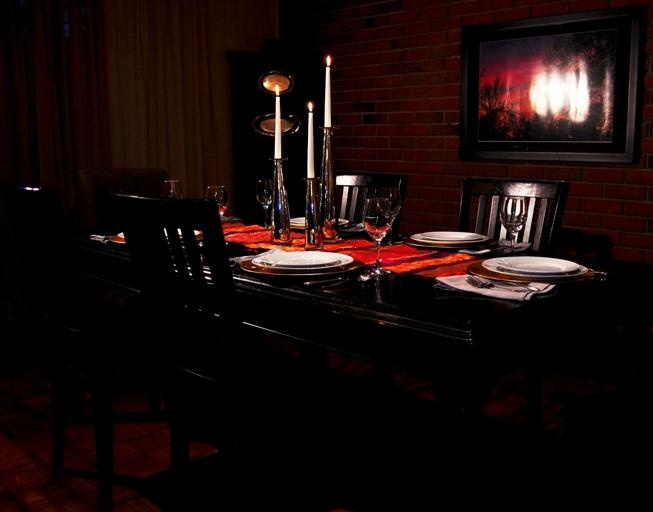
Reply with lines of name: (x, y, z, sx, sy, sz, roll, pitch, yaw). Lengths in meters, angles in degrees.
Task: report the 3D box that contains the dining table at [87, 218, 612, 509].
dining table: (-0.028, 0.210, 1.526, 1.504, 0.806, 0.608, 8, 19, 20)
